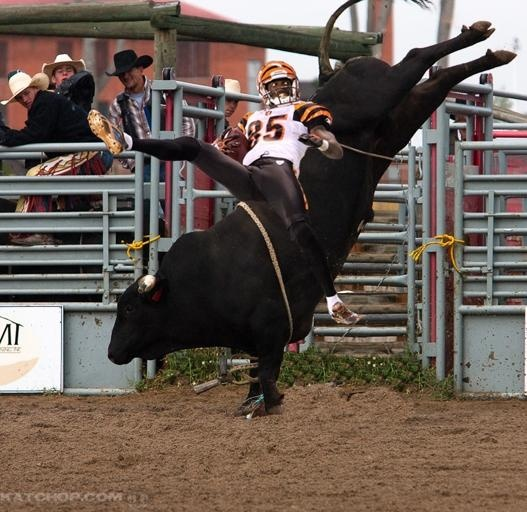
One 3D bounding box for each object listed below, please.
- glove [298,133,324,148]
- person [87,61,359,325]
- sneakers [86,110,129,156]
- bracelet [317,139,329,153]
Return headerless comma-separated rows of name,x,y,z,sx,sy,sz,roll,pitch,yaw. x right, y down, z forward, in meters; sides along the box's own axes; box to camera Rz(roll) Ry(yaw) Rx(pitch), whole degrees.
glove,0.302,-0.794,9.422,0.128,0.059,0.181,1,1,44
person,-0.059,-0.477,9.815,1.478,1.891,0.879,1,0,2
sneakers,-1.091,-0.831,9.366,0.177,0.369,0.101,-46,11,-28
bracelet,0.413,-0.754,9.462,0.070,0.075,0.078,-14,-22,28
